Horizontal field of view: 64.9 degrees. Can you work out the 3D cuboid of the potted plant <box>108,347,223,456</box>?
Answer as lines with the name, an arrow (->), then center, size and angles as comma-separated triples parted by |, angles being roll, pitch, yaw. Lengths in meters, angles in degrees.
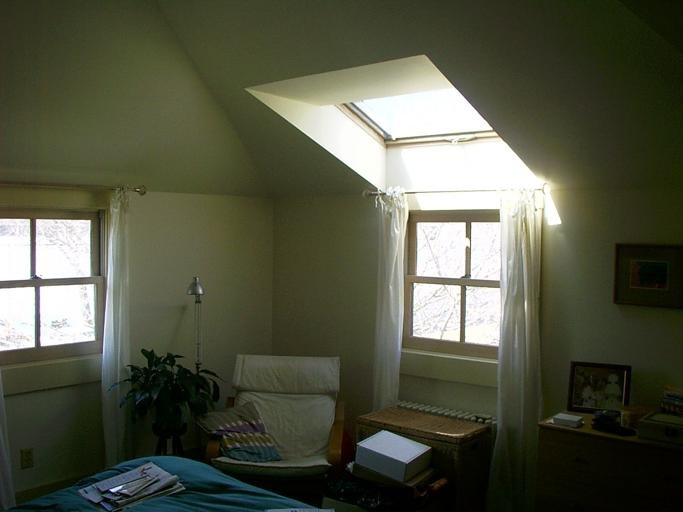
potted plant -> -1.190, 1.154, 3.901 | 0.758, 0.774, 0.769 | -1, -14, 25

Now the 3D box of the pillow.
pillow -> -0.672, 1.212, 3.696 | 0.557, 0.318, 0.409 | -1, -4, 40

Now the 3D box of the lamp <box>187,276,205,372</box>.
lamp -> -1.128, 0.550, 4.195 | 0.130, 0.741, 0.137 | 3, -13, -35

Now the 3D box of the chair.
chair -> -0.425, 1.232, 3.815 | 0.860, 0.907, 0.946 | 4, 4, 3
